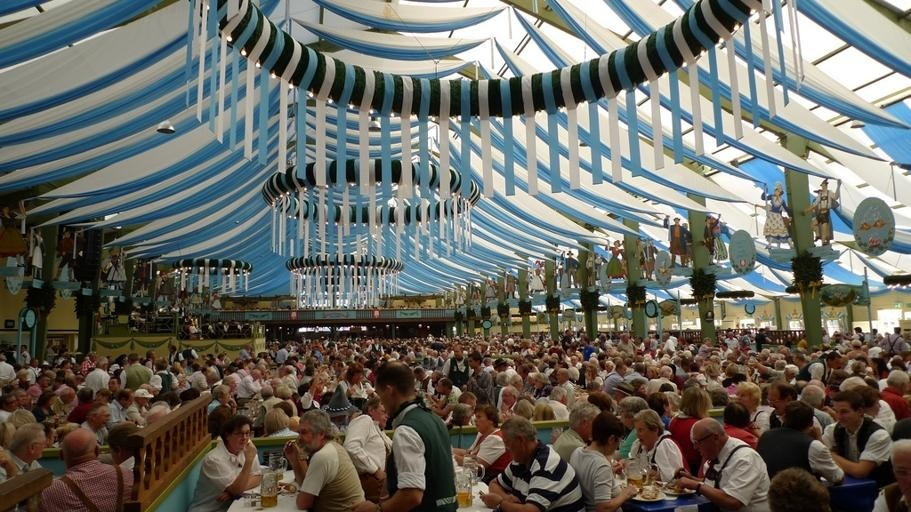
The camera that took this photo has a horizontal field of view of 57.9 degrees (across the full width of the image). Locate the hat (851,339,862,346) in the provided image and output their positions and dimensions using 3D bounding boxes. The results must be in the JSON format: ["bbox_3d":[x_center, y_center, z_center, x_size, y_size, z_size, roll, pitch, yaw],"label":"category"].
[{"bbox_3d":[12.075,2.571,24.747,0.251,0.277,0.348,3,-1,11],"label":"hat"}]

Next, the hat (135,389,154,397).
[{"bbox_3d":[-7.887,3.442,21.019,0.319,0.165,0.434,3,-11,15],"label":"hat"}]

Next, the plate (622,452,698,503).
[{"bbox_3d":[4.304,4.554,17.473,1.037,0.760,1.043,-4,-21,6],"label":"plate"}]

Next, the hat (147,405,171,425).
[{"bbox_3d":[-6.711,3.414,18.676,0.606,0.524,0.834,-3,-10,-21],"label":"hat"}]
